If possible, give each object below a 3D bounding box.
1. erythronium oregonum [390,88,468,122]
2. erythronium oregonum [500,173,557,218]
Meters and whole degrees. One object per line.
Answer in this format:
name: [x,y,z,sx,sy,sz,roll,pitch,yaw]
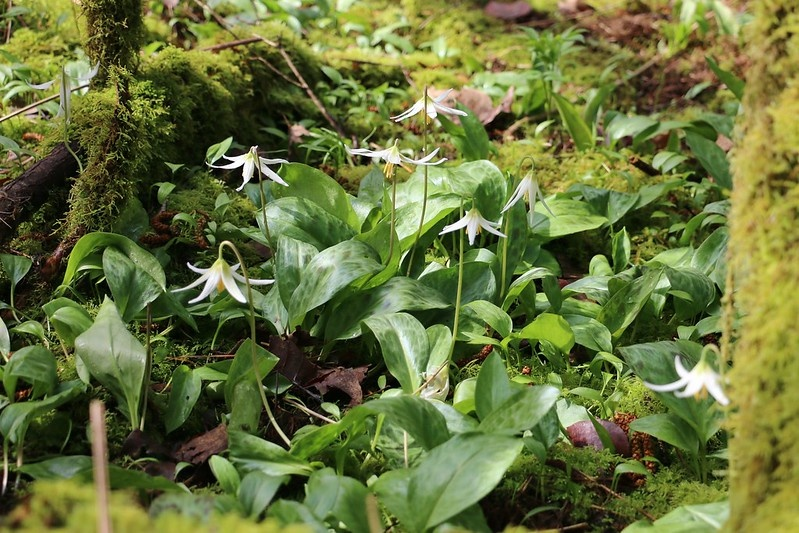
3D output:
erythronium oregonum: [0.128,-0.853,3.616,0.323,0.135,0.307,-10,-5,1]
erythronium oregonum: [0.665,-0.391,3.542,0.216,0.285,0.227,7,4,-18]
